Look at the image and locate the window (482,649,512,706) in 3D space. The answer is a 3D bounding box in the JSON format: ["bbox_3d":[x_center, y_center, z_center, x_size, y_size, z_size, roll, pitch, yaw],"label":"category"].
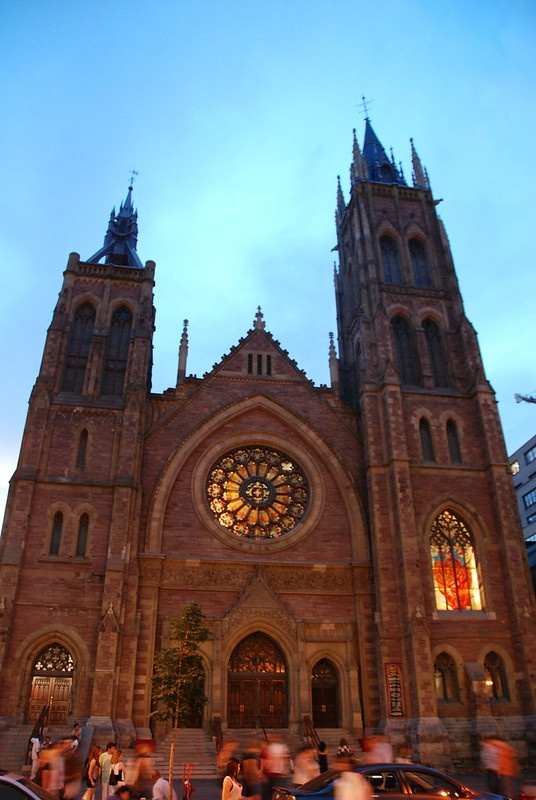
[{"bbox_3d":[8.705,10.583,22.663,0.791,1.890,0.156,-4,-13,7],"label":"window"}]

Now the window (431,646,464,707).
[{"bbox_3d":[6.687,10.458,22.062,0.912,1.750,0.545,-4,-30,3],"label":"window"}]

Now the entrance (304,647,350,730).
[{"bbox_3d":[2.094,11.101,22.295,1.112,2.426,0.233,4,-29,-6],"label":"entrance"}]

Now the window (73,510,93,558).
[{"bbox_3d":[-7.098,5.224,22.558,0.484,1.848,0.306,1,-30,-5],"label":"window"}]

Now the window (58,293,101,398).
[{"bbox_3d":[-8.776,-2.412,27.334,1.121,0.357,5.012,6,-61,-25],"label":"window"}]

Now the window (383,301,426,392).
[{"bbox_3d":[6.917,-2.609,29.893,1.674,4.766,0.390,5,-12,-12],"label":"window"}]

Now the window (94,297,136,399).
[{"bbox_3d":[-7.034,-2.317,27.507,1.174,0.450,5.315,6,-58,-17],"label":"window"}]

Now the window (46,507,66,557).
[{"bbox_3d":[-8.053,5.110,22.420,0.496,1.829,0.344,0,-30,-3],"label":"window"}]
